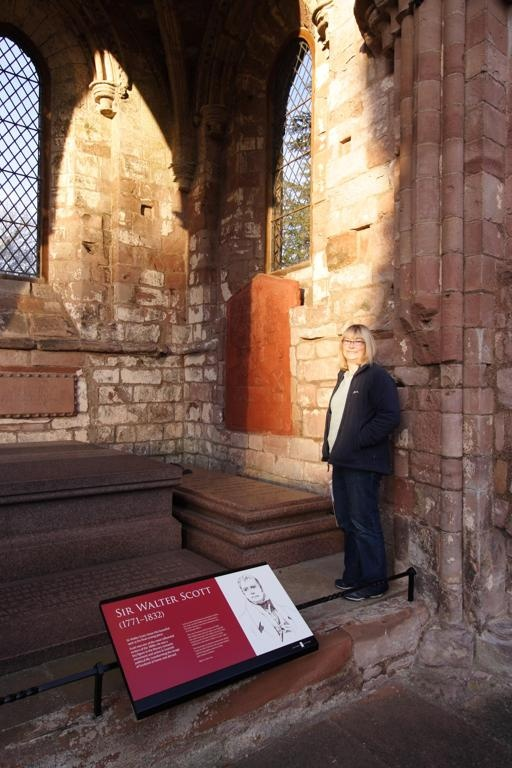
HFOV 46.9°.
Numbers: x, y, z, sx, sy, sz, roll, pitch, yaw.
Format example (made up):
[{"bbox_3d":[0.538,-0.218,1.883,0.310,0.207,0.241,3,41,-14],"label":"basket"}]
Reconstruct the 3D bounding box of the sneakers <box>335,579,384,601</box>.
[{"bbox_3d":[0.500,0.972,2.771,0.251,0.113,0.083,24,-15,-29],"label":"sneakers"}]

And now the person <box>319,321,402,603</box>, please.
[{"bbox_3d":[0.503,0.356,2.969,0.230,1.286,0.491,0,8,-31],"label":"person"}]
